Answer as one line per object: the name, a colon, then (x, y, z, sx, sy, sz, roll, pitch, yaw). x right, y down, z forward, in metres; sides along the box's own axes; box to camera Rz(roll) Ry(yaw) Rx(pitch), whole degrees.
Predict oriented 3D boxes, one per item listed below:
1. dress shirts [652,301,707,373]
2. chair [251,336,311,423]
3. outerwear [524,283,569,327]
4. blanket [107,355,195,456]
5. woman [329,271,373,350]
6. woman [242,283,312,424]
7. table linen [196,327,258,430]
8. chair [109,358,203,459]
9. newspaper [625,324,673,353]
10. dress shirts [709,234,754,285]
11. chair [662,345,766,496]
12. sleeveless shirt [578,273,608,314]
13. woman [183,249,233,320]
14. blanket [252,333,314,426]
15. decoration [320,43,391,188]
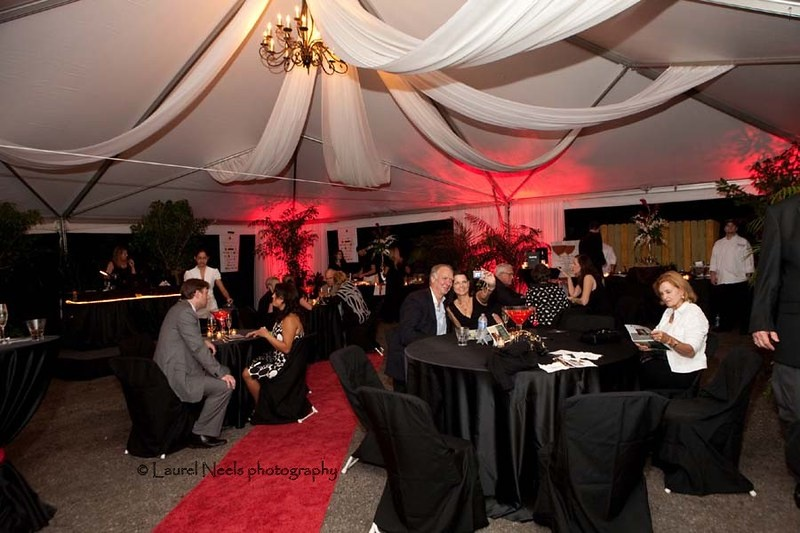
dress shirts: (2.896, 0.689, 5.182, 0.420, 0.675, 0.778, -4, 3, 5)
chair: (-1.555, 1.391, 6.648, 0.813, 1.258, 1.027, 2, -3, -2)
outerwear: (2.011, 0.500, 6.762, 0.595, 0.683, 0.254, 2, -1, 2)
blanket: (-2.745, 1.551, 5.793, 0.723, 1.077, 0.942, 4, 3, 19)
woman: (-0.853, 0.762, 9.068, 0.711, 1.422, 0.608, -7, 10, 31)
woman: (-1.541, 1.071, 6.371, 0.926, 1.664, 0.808, -4, 5, -42)
table linen: (-1.995, 1.416, 6.328, 0.812, 0.809, 0.844, -2, -1, 40)
chair: (-2.700, 1.531, 5.794, 0.710, 1.087, 0.923, 0, 2, 4)
newspaper: (2.324, 0.692, 4.835, 0.255, 0.128, 0.365, -13, -10, 1)
dress shirts: (5.727, -0.090, 8.691, 0.541, 1.028, 0.737, 9, -11, -38)
chair: (2.869, 1.401, 4.777, 0.773, 1.250, 0.891, 0, 6, 2)
sleeveless shirt: (2.803, 0.415, 7.363, 0.434, 0.644, 0.341, -2, -12, 3)
woman: (-3.487, 0.661, 9.089, 0.745, 1.854, 0.610, -10, 26, -32)
blanket: (-1.538, 1.296, 6.405, 0.737, 1.147, 0.931, 1, 15, -9)
decoration: (-0.907, -2.398, 9.121, 1.082, 2.882, 0.302, 0, -32, -15)
